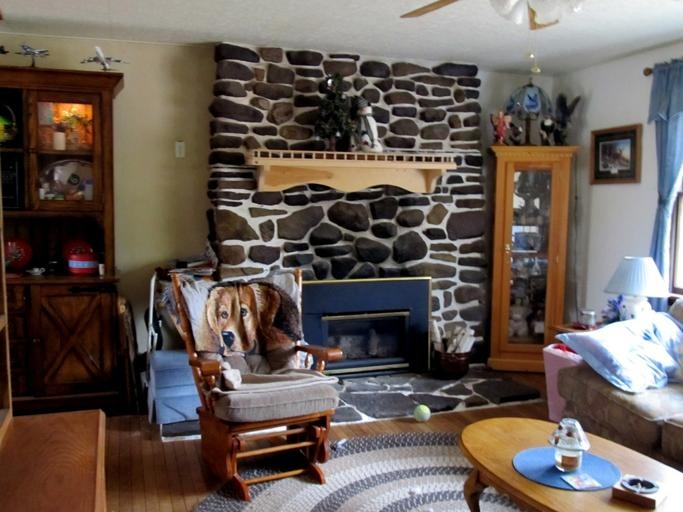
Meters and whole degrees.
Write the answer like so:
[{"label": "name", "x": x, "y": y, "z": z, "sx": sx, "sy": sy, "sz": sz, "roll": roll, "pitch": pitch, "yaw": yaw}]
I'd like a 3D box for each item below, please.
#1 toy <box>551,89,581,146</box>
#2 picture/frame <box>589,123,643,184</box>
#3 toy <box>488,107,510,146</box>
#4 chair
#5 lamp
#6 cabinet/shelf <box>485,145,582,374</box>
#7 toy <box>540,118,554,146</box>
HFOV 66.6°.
[{"label": "toy", "x": 2.201, "y": -1.343, "z": 5.059, "sx": 0.215, "sy": 0.519, "sz": 0.484, "roll": 6, "pitch": 12, "yaw": 23}, {"label": "picture/frame", "x": 2.514, "y": -0.934, "z": 4.719, "sx": 0.048, "sy": 0.640, "sz": 0.621, "roll": -2, "pitch": 3, "yaw": -29}, {"label": "toy", "x": 1.531, "y": -1.233, "z": 5.006, "sx": 0.197, "sy": 0.321, "sz": 0.375, "roll": 5, "pitch": 12, "yaw": 17}, {"label": "chair", "x": -0.541, "y": 0.757, "z": 3.330, "sx": 1.028, "sy": 1.181, "sz": 1.048, "roll": -1, "pitch": 3, "yaw": -15}, {"label": "lamp", "x": 2.180, "y": 0.215, "z": 4.044, "sx": 0.484, "sy": 0.521, "sz": 0.473, "roll": -3, "pitch": 4, "yaw": -18}, {"label": "cabinet/shelf", "x": 1.738, "y": 0.033, "z": 4.908, "sx": 0.759, "sy": 2.109, "sz": 0.427, "roll": 3, "pitch": 12, "yaw": 10}, {"label": "toy", "x": 1.965, "y": -1.179, "z": 4.910, "sx": 0.153, "sy": 0.249, "sz": 0.094, "roll": 2, "pitch": 12, "yaw": 4}]
